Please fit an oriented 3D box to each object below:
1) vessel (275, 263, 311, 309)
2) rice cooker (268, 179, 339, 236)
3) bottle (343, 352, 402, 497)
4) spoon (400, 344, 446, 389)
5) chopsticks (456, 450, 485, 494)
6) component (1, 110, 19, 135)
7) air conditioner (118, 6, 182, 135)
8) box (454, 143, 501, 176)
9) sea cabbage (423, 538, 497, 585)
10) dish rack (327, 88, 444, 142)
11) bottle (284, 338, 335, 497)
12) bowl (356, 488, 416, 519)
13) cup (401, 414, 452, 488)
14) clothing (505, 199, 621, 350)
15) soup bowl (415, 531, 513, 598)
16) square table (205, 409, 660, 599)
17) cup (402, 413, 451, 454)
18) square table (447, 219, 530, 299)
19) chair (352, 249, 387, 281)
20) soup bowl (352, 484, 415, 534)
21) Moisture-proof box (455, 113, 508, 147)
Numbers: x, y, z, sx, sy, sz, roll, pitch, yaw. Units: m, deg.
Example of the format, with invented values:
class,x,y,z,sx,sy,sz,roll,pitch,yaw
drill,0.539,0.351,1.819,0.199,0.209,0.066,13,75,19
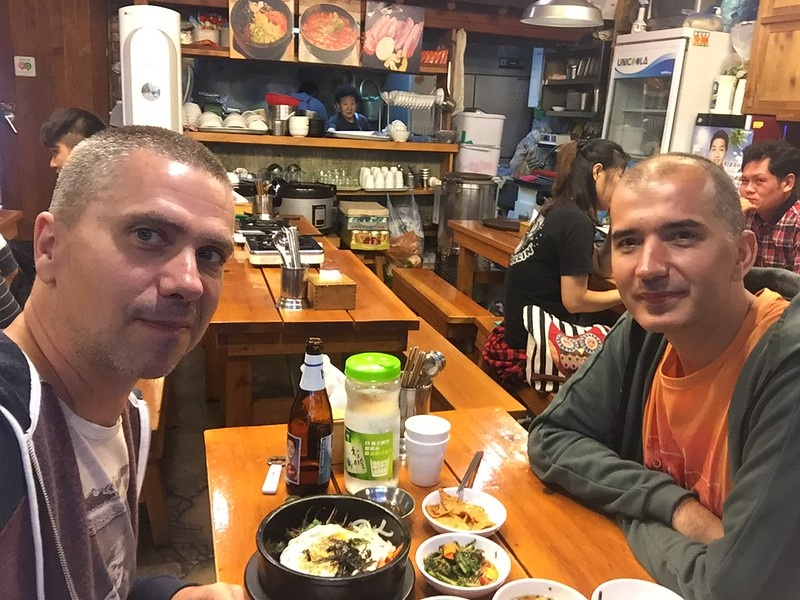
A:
class,x,y,z,sx,sy,sz,roll,pitch,yaw
vessel,-0.532,-0.064,2.971,0.188,0.209,0.198,1,7,-8
rice cooker,-0.904,-0.907,5.792,0.525,0.383,0.505,3,15,5
bottle,-0.077,0.325,1.557,0.134,0.353,0.164,5,17,17
spoon,0.066,0.198,1.817,0.123,0.131,0.116,1,16,0
chopsticks,0.186,0.460,1.595,0.031,0.031,0.218,45,18,0
component,-3.849,-1.748,5.911,0.103,0.200,0.057,-15,22,10
air conditioner,-1.867,-1.725,4.485,0.451,0.853,0.207,-6,17,-21
box,0.951,-1.683,7.307,0.510,0.314,0.506,11,24,-10
sea cabbage,0.138,0.591,1.334,0.092,0.042,0.092,11,13,29
dish rack,-0.149,-2.121,6.828,1.028,0.597,1.584,10,18,30
bottle,-0.240,0.283,1.554,0.133,0.431,0.220,-2,16,-7
bowl,-0.018,0.487,1.500,0.105,0.037,0.105,3,13,-1
cup,0.073,0.405,1.698,0.162,0.173,0.153,1,13,0
clothing,0.940,-0.260,3.785,0.721,0.984,0.845,-7,17,-14
soup bowl,0.141,0.586,1.345,0.138,0.051,0.138,0,16,0
square table,0.045,0.525,1.505,0.660,0.157,0.619,-4,15,-16
cup,0.071,0.355,1.632,0.100,0.062,0.089,5,10,25
square table,0.666,-0.309,5.107,0.648,0.623,0.642,4,13,-10
chair,-0.335,-0.420,6.472,0.330,0.418,0.309,-4,16,-7
soup bowl,-0.031,0.510,1.493,0.117,0.042,0.116,3,19,-1
Moisture-proof box,0.979,-2.085,7.489,0.504,0.307,0.500,3,20,-4
